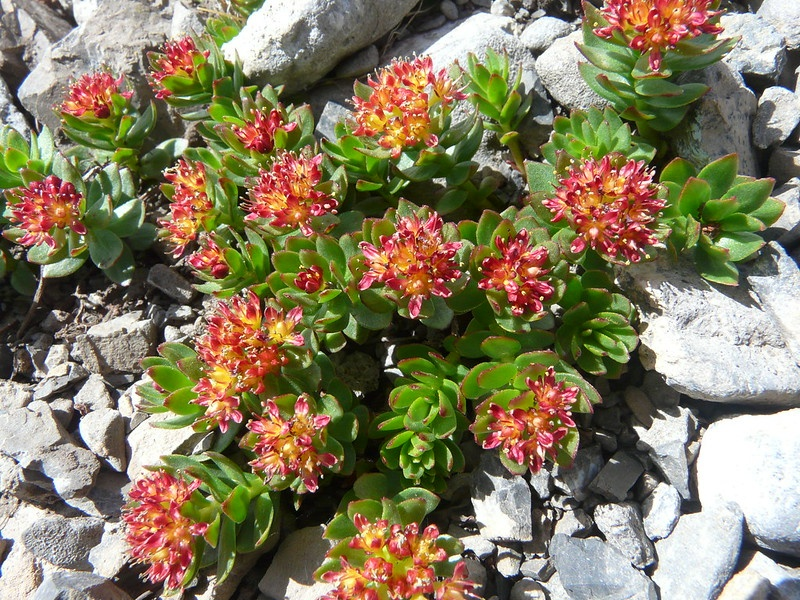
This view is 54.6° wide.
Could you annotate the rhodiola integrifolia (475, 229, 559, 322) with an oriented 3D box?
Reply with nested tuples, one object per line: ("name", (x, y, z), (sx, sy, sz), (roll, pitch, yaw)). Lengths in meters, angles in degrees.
("rhodiola integrifolia", (0.734, -0.133, 4.591), (0.459, 0.402, 0.411), (-46, 47, -10))

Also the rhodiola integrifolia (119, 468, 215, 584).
("rhodiola integrifolia", (-1.390, 1.292, 4.593), (0.347, 0.595, 0.609), (-7, 38, -21))

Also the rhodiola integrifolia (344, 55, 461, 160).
("rhodiola integrifolia", (0.058, -1.175, 5.062), (0.675, 0.337, 0.630), (-44, 77, 1))

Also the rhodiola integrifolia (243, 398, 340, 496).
("rhodiola integrifolia", (-0.630, 0.838, 4.476), (0.519, 0.212, 0.560), (17, 72, -9))

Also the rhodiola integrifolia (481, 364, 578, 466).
("rhodiola integrifolia", (0.770, 0.694, 4.445), (0.567, 0.214, 0.533), (-38, 85, 8))
